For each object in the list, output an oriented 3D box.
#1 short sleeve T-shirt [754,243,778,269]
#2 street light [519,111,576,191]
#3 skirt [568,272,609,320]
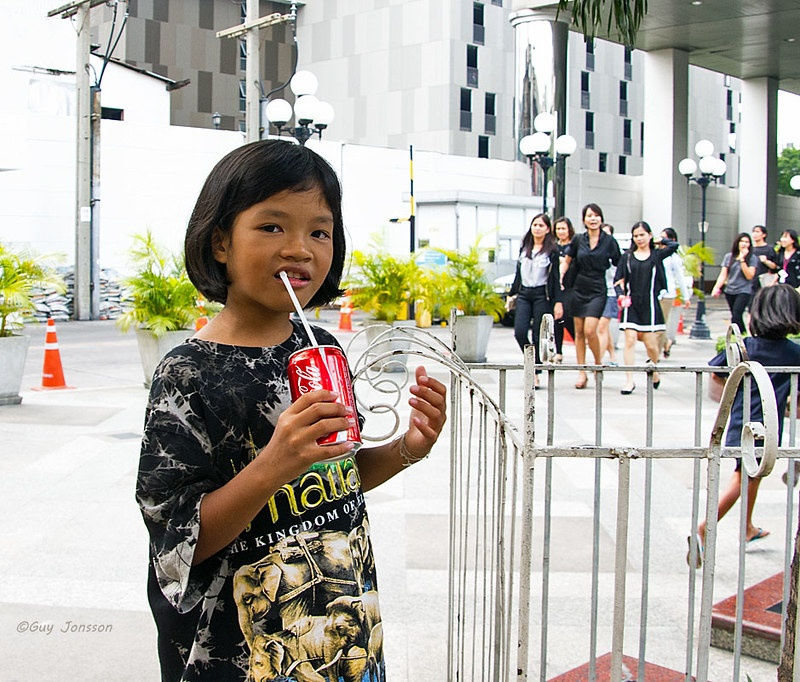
[{"bbox_3d":[5.330,-1.226,12.900,0.394,0.418,0.239,-4,7,18],"label":"short sleeve T-shirt"},{"bbox_3d":[2.751,-3.573,16.368,0.748,1.351,1.963,8,3,20],"label":"street light"},{"bbox_3d":[2.136,-0.525,10.040,0.447,0.644,0.319,2,-15,24],"label":"skirt"}]
